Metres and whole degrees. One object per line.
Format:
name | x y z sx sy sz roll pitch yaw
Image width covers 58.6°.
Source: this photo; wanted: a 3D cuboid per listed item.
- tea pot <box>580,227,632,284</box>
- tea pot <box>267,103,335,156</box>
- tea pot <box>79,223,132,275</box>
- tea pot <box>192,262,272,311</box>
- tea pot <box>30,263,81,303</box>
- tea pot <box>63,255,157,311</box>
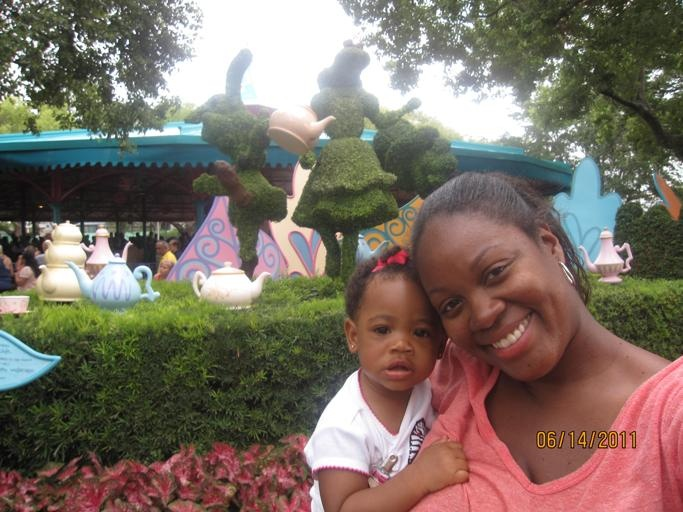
tea pot | 3.490 -0.002 8.030 0.658 0.711 0.638 -3 -2 0
tea pot | -0.485 -1.420 6.777 0.748 0.439 0.642 19 -2 33
tea pot | -2.852 -0.082 7.252 0.578 0.457 0.653 9 -38 -16
tea pot | -1.116 0.300 5.993 0.616 0.429 0.458 0 0 -15
tea pot | -2.896 0.240 6.231 0.408 0.395 0.585 0 10 2
tea pot | -2.186 0.275 5.856 0.791 0.596 0.524 1 -3 -13
